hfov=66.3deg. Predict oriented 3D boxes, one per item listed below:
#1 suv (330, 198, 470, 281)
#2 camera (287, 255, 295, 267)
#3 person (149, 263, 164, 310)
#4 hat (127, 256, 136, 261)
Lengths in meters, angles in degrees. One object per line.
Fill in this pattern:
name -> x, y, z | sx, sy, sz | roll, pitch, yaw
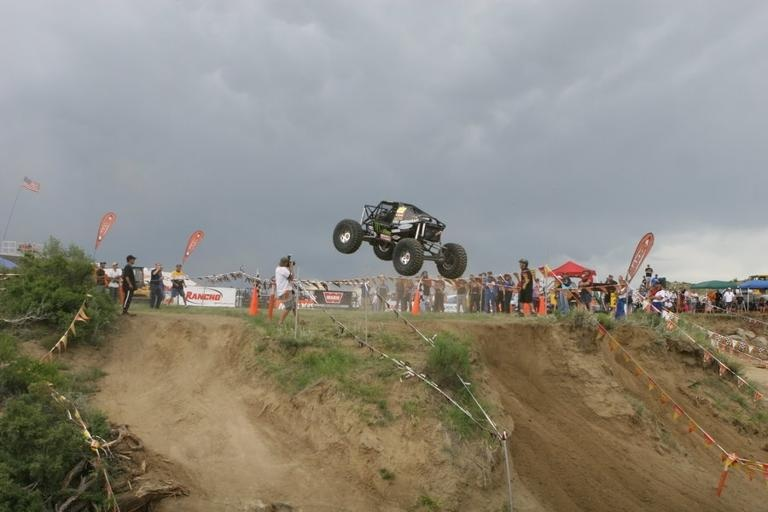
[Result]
suv -> 0.872, -0.647, 24.154 | 4.591, 2.589, 3.101 | 26, 3, 39
camera -> -2.712, 0.170, 16.935 | 0.190, 0.398, 0.154 | 0, 4, -1
person -> -9.575, 1.268, 24.722 | 0.533, 1.825, 0.842 | 6, -5, -23
hat -> -7.216, 0.058, 16.735 | 0.192, 0.076, 0.178 | -6, -6, 25
